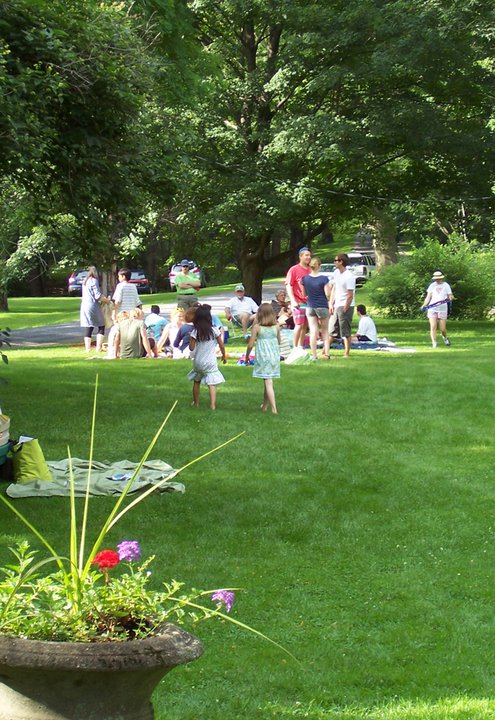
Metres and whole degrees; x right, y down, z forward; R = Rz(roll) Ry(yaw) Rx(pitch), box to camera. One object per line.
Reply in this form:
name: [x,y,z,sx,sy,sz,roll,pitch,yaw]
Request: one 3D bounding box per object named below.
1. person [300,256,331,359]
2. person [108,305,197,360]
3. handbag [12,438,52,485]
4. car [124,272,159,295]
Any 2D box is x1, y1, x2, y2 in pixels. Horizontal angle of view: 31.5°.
person: [1.210,-0.868,15.326,0.541,1.763,0.789,3,10,4]
person: [-2.020,-0.544,16.615,1.012,0.709,1.443,4,12,16]
handbag: [-1.835,0.873,7.425,0.207,0.309,0.300,-39,-27,30]
car: [-5.656,-4.076,47.308,1.722,1.328,3.372,-2,5,-9]
